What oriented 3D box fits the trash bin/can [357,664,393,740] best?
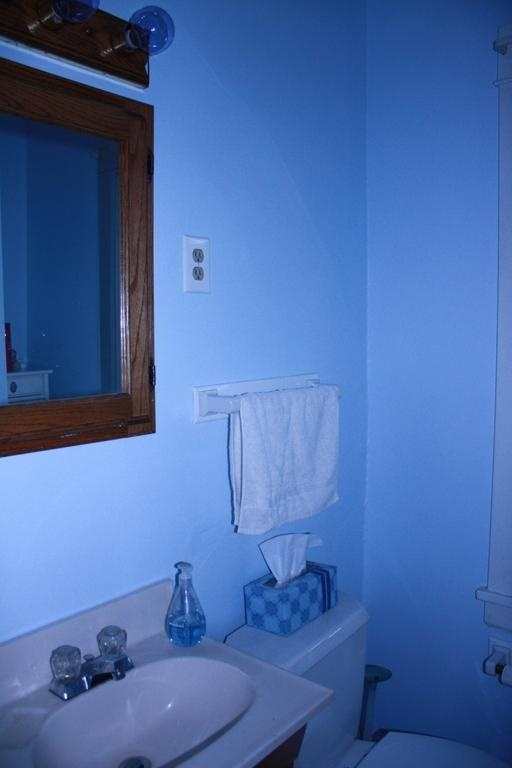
[{"bbox_3d":[0.319,0.889,1.665,0.084,0.150,0.088,20,-21,-5],"label":"trash bin/can"}]

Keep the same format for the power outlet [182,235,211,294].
[{"bbox_3d":[-0.120,-0.234,1.192,0.011,0.108,0.080,5,5,29],"label":"power outlet"}]

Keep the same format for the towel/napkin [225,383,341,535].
[{"bbox_3d":[0.052,0.155,1.329,0.073,0.305,0.312,2,6,38],"label":"towel/napkin"}]

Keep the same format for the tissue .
[{"bbox_3d":[0.085,0.437,1.397,0.192,0.209,0.099,-8,3,-44],"label":"tissue "}]
